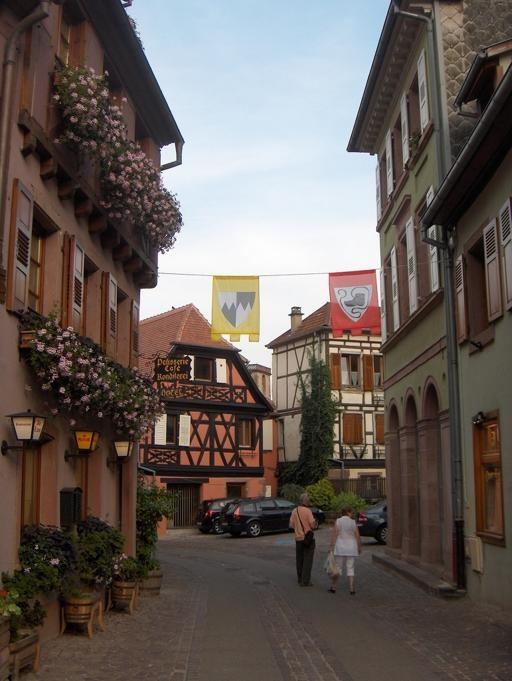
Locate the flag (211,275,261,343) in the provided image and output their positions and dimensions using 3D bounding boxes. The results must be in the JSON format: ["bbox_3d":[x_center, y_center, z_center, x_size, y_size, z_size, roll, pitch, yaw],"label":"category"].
[{"bbox_3d":[-0.422,-0.648,13.892,1.422,2.120,0.069,0,-32,-2],"label":"flag"}]

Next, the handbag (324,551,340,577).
[{"bbox_3d":[1.196,3.590,11.072,0.172,0.397,0.446,2,-14,-14],"label":"handbag"}]

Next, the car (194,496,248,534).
[{"bbox_3d":[-1.414,7.005,27.563,2.037,1.190,1.192,-1,-7,-13],"label":"car"}]

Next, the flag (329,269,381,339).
[{"bbox_3d":[2.210,-0.855,15.680,1.451,2.128,0.080,-4,1,4],"label":"flag"}]

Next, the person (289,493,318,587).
[{"bbox_3d":[0.832,3.521,12.190,0.420,1.498,1.266,-2,-14,4],"label":"person"}]

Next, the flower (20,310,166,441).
[{"bbox_3d":[-1.887,0.369,7.609,0.465,0.827,1.918,-6,-10,5],"label":"flower"}]
